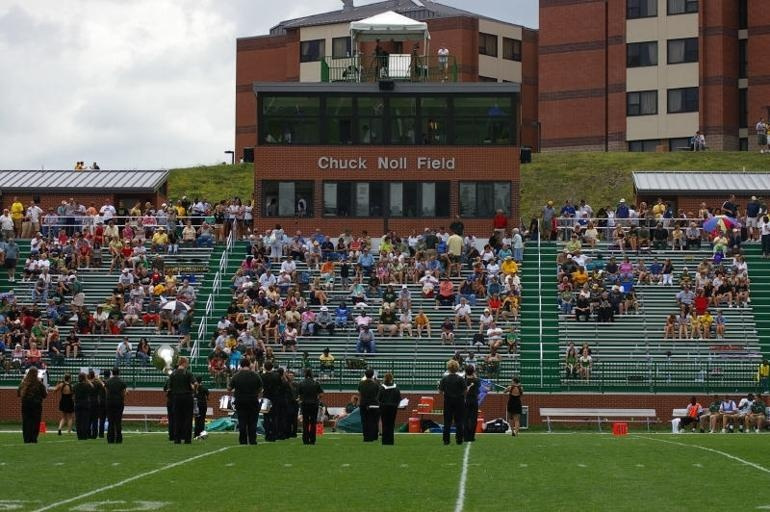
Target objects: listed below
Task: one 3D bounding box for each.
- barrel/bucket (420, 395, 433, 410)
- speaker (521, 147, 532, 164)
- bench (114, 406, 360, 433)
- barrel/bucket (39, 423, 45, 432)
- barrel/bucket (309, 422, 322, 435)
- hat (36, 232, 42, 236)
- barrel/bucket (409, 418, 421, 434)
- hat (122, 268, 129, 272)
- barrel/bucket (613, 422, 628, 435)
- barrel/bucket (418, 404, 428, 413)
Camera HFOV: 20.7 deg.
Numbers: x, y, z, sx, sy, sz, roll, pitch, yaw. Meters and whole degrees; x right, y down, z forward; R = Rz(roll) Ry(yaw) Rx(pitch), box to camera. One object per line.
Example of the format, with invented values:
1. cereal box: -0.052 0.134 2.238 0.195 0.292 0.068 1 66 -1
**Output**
1. barrel/bucket: 1.927 6.675 94.894 0.647 0.586 0.331 1 1 13
2. speaker: 7.435 -5.139 110.365 0.502 0.823 1.258 -2 -3 11
3. bench: -6.572 7.420 95.364 11.021 1.423 3.127 -3 -4 18
4. barrel/bucket: -15.300 7.660 93.708 0.371 0.438 0.370 -1 -6 0
5. barrel/bucket: -3.022 7.636 92.864 0.580 0.574 0.572 0 -4 0
6. hat: -17.639 -0.964 107.313 0.327 0.228 0.518 7 -2 -7
7. barrel/bucket: 1.360 7.582 94.091 0.581 0.555 0.574 -2 0 0
8. hat: -12.767 0.825 103.426 0.193 0.124 0.258 9 -6 20
9. barrel/bucket: 10.642 7.745 94.044 0.670 0.635 0.488 1 -6 -9
10. barrel/bucket: 1.768 6.866 94.453 0.310 0.363 0.540 0 -2 -10
